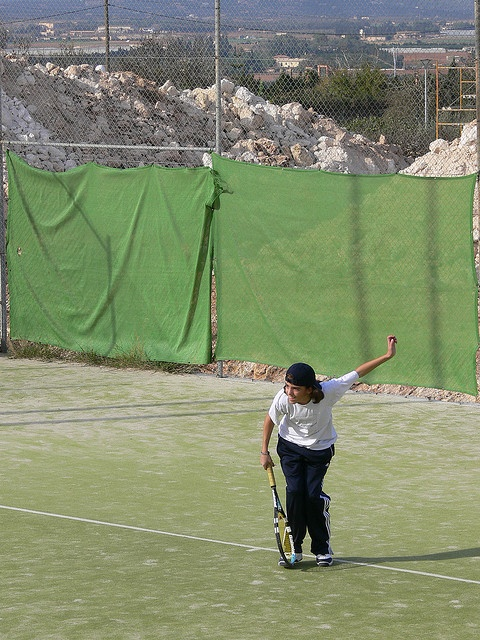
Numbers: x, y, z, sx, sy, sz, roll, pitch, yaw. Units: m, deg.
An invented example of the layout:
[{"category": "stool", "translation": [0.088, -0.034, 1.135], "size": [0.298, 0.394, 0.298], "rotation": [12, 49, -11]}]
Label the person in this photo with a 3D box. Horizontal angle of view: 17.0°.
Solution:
[{"category": "person", "translation": [0.622, 0.876, 10.429], "size": [1.006, 1.799, 0.663], "rotation": [-3, -9, 7]}]

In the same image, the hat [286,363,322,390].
[{"category": "hat", "translation": [0.354, 0.315, 8.912], "size": [0.107, 0.098, 0.169], "rotation": [19, 13, 34]}]

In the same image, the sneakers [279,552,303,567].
[{"category": "sneakers", "translation": [0.287, 1.350, 9.070], "size": [0.054, 0.074, 0.167], "rotation": [0, -11, 16]}]
